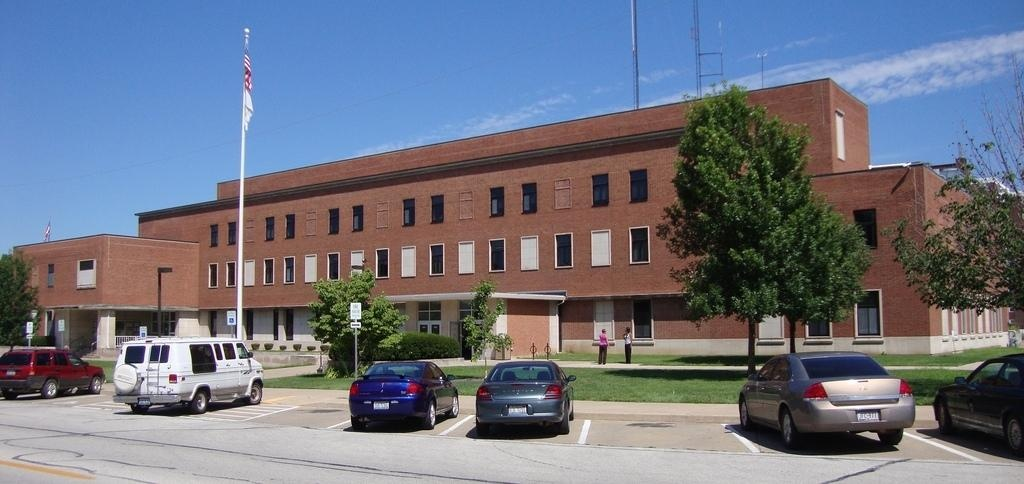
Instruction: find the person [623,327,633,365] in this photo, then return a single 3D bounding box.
[{"bbox_3d":[9.251,8.519,62.398,0.438,2.389,0.779,-1,6,-4],"label":"person"}]
